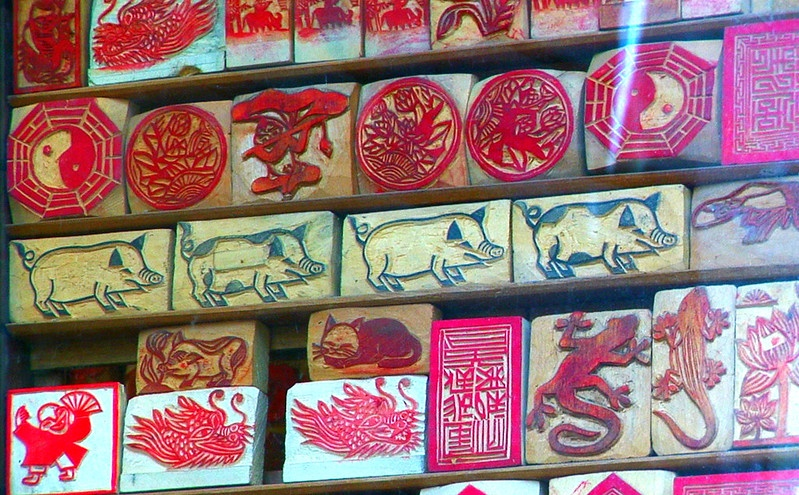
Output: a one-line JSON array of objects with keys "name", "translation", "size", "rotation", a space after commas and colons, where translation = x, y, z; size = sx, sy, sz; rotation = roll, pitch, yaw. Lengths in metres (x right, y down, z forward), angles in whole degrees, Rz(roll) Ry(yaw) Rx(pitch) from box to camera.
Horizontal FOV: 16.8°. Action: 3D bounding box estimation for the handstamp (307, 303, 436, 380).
[{"name": "handstamp", "translation": [-0.080, 0.366, 10.357], "size": [0.562, 0.274, 0.178], "rotation": [-6, -15, 31]}]
